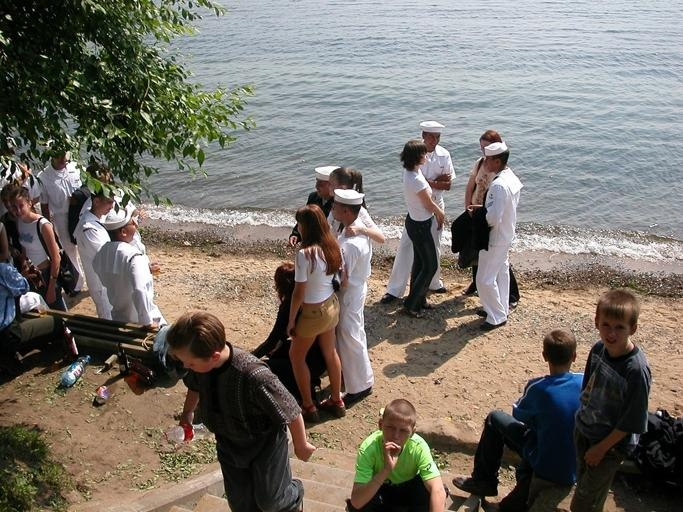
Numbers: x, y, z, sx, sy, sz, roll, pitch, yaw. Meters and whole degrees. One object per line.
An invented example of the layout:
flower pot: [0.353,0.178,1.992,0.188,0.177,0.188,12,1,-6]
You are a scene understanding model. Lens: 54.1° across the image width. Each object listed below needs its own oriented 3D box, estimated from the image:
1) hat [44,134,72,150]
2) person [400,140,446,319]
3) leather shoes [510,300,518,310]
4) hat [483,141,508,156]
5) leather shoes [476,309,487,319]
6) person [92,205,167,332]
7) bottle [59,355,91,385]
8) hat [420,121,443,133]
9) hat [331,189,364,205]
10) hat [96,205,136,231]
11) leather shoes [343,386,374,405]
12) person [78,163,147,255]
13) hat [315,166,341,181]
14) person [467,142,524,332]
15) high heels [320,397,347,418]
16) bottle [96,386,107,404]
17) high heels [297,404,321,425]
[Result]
hat: [-2.934,-1.172,6.922,0.293,0.171,0.259,13,22,43]
person: [1.166,-0.342,9.705,0.594,2.643,0.427,-2,17,4]
leather shoes: [2.672,0.783,10.426,0.100,0.121,0.132,-10,37,30]
hat: [2.138,-1.472,9.297,0.322,0.186,0.294,-5,16,-7]
leather shoes: [2.128,0.889,10.156,0.202,0.134,0.066,11,-29,-44]
person: [-2.406,0.166,7.570,0.754,1.485,0.558,10,21,37]
bottle: [-3.057,1.331,7.606,0.252,0.200,0.442,-2,16,3]
hat: [1.345,-1.946,10.254,0.411,0.158,0.448,0,23,-1]
hat: [0.086,-0.665,7.725,0.331,0.210,0.308,-3,16,-3]
hat: [-2.467,-0.419,7.334,0.279,0.288,0.486,-5,16,-7]
leather shoes: [0.223,1.780,8.360,0.151,0.171,0.414,16,26,41]
person: [-2.635,-0.522,7.620,0.404,0.510,1.222,12,-5,-2]
hat: [-0.210,-1.027,8.724,0.371,0.143,0.427,2,28,1]
person: [2.211,-0.243,9.579,0.606,2.702,0.403,-17,22,-37]
high heels: [-0.105,1.834,8.054,0.156,0.146,0.353,-14,23,-36]
bottle: [-2.607,1.532,7.292,0.132,0.163,0.067,-9,-12,2]
high heels: [-0.384,1.883,7.884,0.156,0.202,0.292,-8,28,-15]
